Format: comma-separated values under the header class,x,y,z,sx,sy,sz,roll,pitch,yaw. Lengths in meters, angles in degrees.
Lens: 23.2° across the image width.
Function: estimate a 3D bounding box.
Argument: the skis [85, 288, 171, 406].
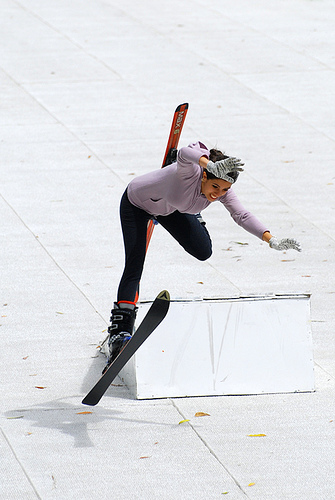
class,x,y,z,sx,sy,sz,roll,pitch,yaw
skis,-0.100,0.425,4.128,0.142,0.080,0.991,39,24,-7
